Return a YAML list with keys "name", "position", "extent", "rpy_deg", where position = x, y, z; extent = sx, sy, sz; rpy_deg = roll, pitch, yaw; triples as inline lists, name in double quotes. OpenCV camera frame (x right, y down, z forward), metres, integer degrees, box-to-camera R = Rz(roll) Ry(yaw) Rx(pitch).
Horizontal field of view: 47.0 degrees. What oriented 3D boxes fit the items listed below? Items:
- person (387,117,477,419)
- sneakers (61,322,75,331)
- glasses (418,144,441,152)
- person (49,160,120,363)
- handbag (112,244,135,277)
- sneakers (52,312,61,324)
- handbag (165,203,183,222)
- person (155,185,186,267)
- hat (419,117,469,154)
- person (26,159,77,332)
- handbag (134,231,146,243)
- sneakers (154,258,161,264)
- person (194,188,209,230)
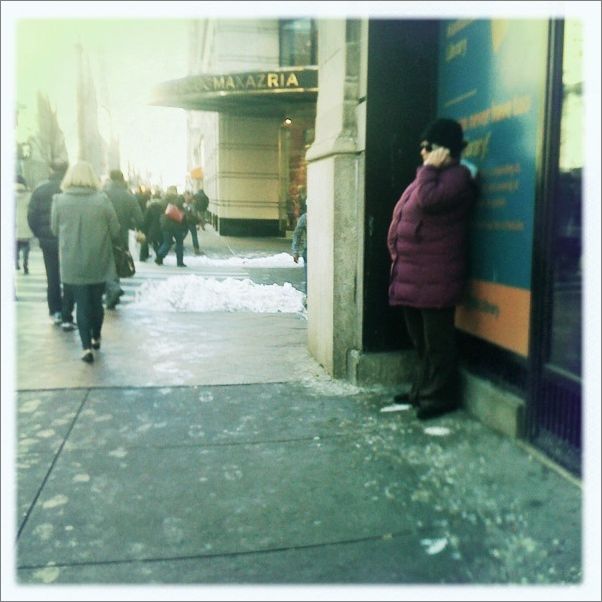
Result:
- name: "person"
  position: [0.958, -0.232, 5.077]
  extent: [0.626, 2.178, 0.472]
  rpy_deg: [3, 9, 17]
- name: "sneakers"
  position: [-2.676, 0.279, 7.953]
  extent: [0.121, 0.169, 0.093]
  rpy_deg: [-3, 10, -9]
- name: "glasses"
  position: [0.948, -1.127, 5.034]
  extent: [0.077, 0.039, 0.089]
  rpy_deg: [-15, 9, -15]
- name: "person"
  position: [-2.106, -0.409, 6.724]
  extent: [0.601, 1.891, 0.537]
  rpy_deg: [6, 10, 32]
- name: "handbag"
  position: [-1.780, -0.451, 6.929]
  extent: [0.165, 0.283, 0.277]
  rpy_deg: [-15, 34, 3]
- name: "sneakers"
  position: [-2.942, 0.194, 8.334]
  extent: [0.096, 0.137, 0.100]
  rpy_deg: [-1, 3, 2]
- name: "handbag"
  position: [-2.581, -1.817, 14.072]
  extent: [0.371, 0.385, 0.248]
  rpy_deg: [-1, 10, -7]
- name: "person"
  position: [-2.708, -1.440, 14.301]
  extent: [0.512, 0.643, 2.054]
  rpy_deg: [-1, 58, -12]
- name: "hat"
  position: [1.045, -1.191, 4.997]
  extent: [0.330, 0.266, 0.183]
  rpy_deg: [2, 10, 11]
- name: "person"
  position: [-2.882, -0.671, 8.308]
  extent: [0.602, 2.249, 0.561]
  rpy_deg: [-12, 37, -31]
- name: "handbag"
  position: [-2.210, -0.839, 9.487]
  extent: [0.121, 0.188, 0.173]
  rpy_deg: [8, 28, -1]
- name: "sneakers"
  position: [-2.899, -0.826, 14.102]
  extent: [0.130, 0.155, 0.279]
  rpy_deg: [-2, 12, -12]
- name: "person"
  position: [-2.635, -2.397, 18.172]
  extent: [0.361, 1.275, 0.283]
  rpy_deg: [4, -28, -11]
